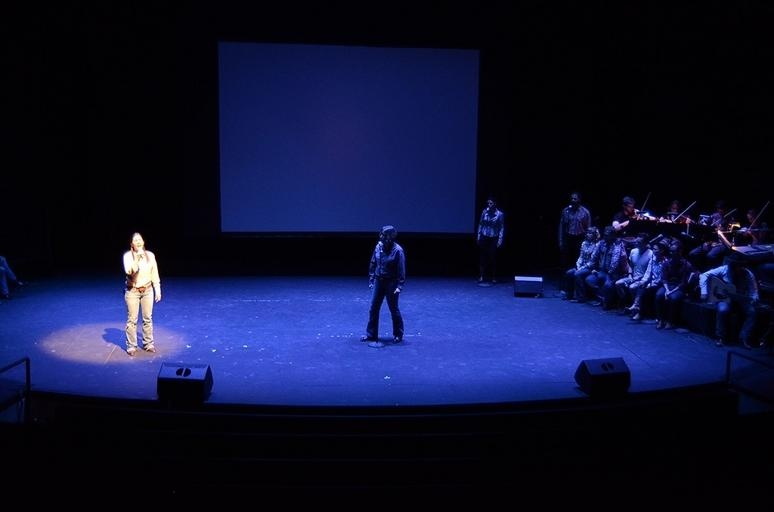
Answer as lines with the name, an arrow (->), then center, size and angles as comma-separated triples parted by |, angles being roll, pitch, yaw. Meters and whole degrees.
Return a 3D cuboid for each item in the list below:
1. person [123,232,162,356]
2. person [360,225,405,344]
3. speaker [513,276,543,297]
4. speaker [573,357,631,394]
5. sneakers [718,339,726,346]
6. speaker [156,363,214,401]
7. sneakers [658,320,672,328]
person -> -4.121, 0.616, 9.494 | 0.535, 1.991, 0.664 | 0, 3, -25
person -> -0.045, 0.493, 10.080 | 0.727, 2.031, 0.923 | 1, 3, 0
speaker -> 3.258, 0.677, 13.037 | 0.789, 0.514, 0.419 | 2, 6, 15
speaker -> 3.093, 1.706, 8.186 | 0.672, 0.449, 0.495 | -1, -3, -14
sneakers -> 5.857, 1.513, 9.901 | 0.097, 0.074, 0.181 | -2, 5, 15
speaker -> -2.781, 1.681, 7.840 | 0.713, 0.457, 0.680 | 4, 9, 9
sneakers -> 5.292, 1.317, 10.816 | 0.236, 0.136, 0.130 | 2, 2, 7
